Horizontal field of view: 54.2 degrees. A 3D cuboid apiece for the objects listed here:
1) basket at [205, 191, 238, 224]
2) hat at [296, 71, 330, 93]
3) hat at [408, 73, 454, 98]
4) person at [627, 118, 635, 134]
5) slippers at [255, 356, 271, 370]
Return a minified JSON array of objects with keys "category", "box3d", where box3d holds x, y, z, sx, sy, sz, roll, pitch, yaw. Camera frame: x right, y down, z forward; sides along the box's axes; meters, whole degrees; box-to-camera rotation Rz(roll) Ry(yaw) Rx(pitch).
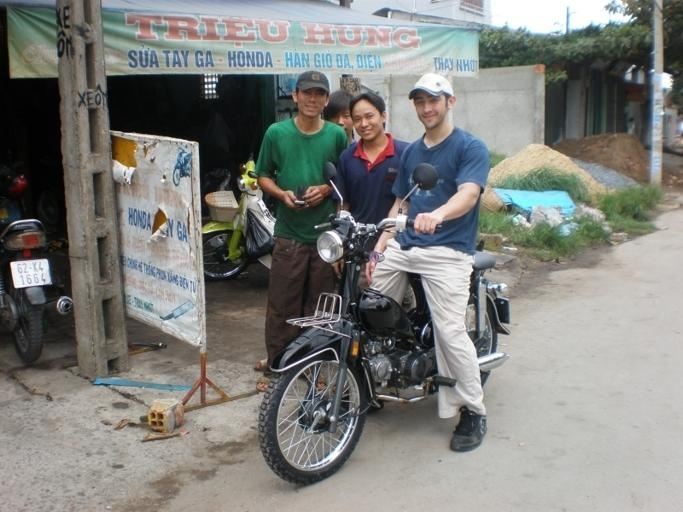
[{"category":"basket","box3d":[-1.534,-0.631,8.539,0.353,0.201,0.596,1,30,-8]},{"category":"hat","box3d":[-0.248,-1.432,5.534,0.273,0.177,0.255,-1,11,-5]},{"category":"hat","box3d":[0.656,-1.236,4.875,0.320,0.168,0.245,1,11,5]},{"category":"person","box3d":[15.137,-6.779,34.871,0.391,0.747,1.278,4,12,23]},{"category":"slippers","box3d":[-0.706,0.976,5.994,0.060,0.078,0.179,7,-5,-34]}]
